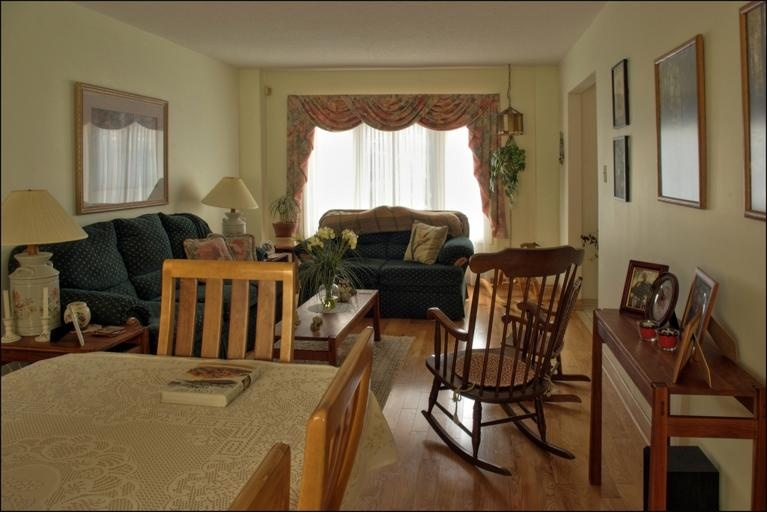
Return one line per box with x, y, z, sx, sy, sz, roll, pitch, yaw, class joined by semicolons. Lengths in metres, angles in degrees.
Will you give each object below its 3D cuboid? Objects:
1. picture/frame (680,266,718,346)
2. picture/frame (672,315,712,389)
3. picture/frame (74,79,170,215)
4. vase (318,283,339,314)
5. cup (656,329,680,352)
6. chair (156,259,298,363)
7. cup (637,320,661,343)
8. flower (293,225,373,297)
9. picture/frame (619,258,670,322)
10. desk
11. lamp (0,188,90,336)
1.423;0.226;2.349;0.023;0.330;0.324;4;-6;20;picture/frame
1.263;0.395;2.140;0.125;0.245;0.252;2;-2;24;picture/frame
-2.452;-0.938;5.025;0.295;1.134;1.115;13;15;14;picture/frame
-0.448;0.351;4.446;0.210;0.326;0.226;-1;2;2;vase
1.259;0.369;2.314;0.086;0.085;0.089;1;2;0;cup
-0.650;0.227;2.188;0.608;0.419;0.314;2;11;16;chair
1.237;0.346;2.436;0.085;0.072;0.087;2;1;0;cup
-0.482;0.036;4.698;0.612;0.847;0.812;3;13;6;flower
1.412;0.188;2.814;0.053;0.420;0.299;30;-18;-20;picture/frame
1.325;0.689;2.342;0.336;0.848;0.954;1;5;13;desk
-2.184;0.045;3.318;0.512;0.906;0.408;4;12;26;lamp
